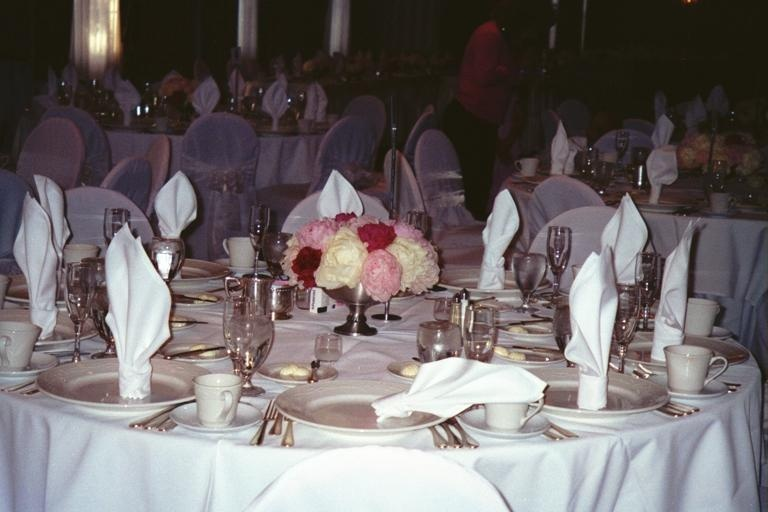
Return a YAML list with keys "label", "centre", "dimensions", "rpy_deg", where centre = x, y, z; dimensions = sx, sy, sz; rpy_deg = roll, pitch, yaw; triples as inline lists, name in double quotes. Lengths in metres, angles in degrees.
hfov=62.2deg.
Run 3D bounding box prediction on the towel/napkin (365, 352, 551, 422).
- label: "towel/napkin"
  centre: [0.166, 0.294, 1.460]
  dimensions: [0.326, 0.142, 0.156]
  rpy_deg: [-6, 23, -13]
